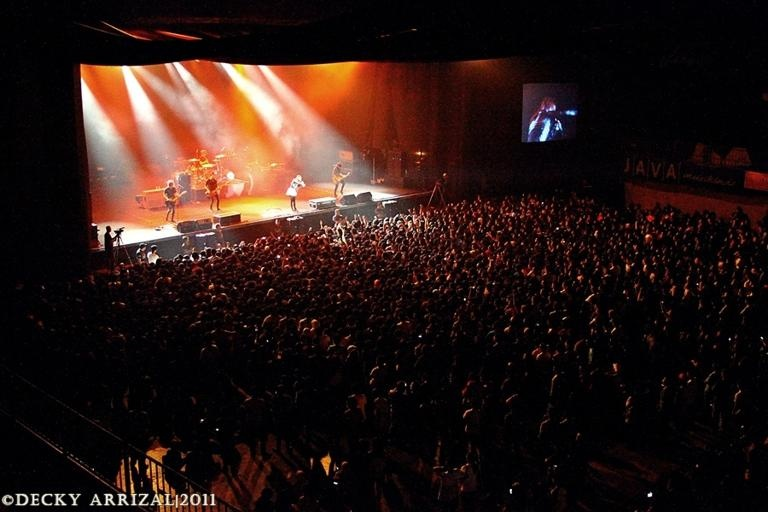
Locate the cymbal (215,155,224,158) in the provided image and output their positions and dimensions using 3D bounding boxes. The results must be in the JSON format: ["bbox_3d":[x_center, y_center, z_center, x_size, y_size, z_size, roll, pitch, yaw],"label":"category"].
[{"bbox_3d":[-6.771,-4.114,23.120,0.287,0.144,0.405,-6,15,0],"label":"cymbal"}]

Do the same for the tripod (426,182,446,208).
[{"bbox_3d":[2.220,-2.507,22.932,1.472,0.886,0.905,0,15,3],"label":"tripod"}]

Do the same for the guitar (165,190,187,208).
[{"bbox_3d":[-7.625,-2.168,20.598,0.710,0.536,1.068,-13,15,-25],"label":"guitar"}]

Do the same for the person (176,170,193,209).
[{"bbox_3d":[-7.788,-2.617,21.721,0.692,1.140,0.717,-2,15,-20],"label":"person"}]

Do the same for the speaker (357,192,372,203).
[{"bbox_3d":[-0.713,-2.171,20.587,0.542,0.352,0.378,-12,57,3],"label":"speaker"}]

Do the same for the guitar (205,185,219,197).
[{"bbox_3d":[-6.116,-2.271,19.809,0.315,0.430,0.450,28,32,28],"label":"guitar"}]

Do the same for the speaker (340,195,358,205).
[{"bbox_3d":[-1.252,-2.035,20.180,0.621,0.398,0.339,-13,59,-40],"label":"speaker"}]
